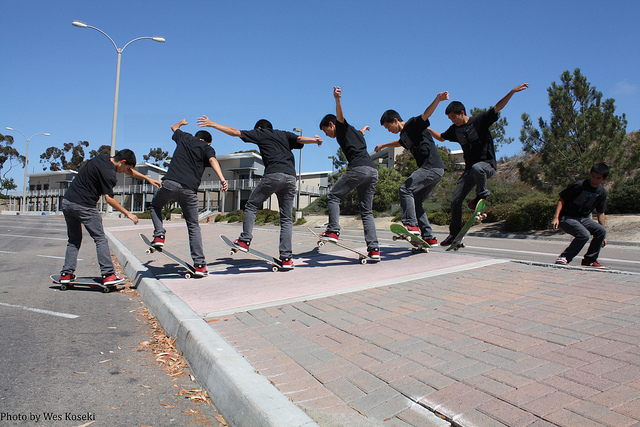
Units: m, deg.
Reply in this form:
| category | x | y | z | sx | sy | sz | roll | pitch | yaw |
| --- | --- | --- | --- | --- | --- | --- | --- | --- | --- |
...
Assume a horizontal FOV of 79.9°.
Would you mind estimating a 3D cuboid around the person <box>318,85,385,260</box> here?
| category | x | y | z | sx | sy | sz | roll | pitch | yaw |
| --- | --- | --- | --- | --- | --- | --- | --- | --- | --- |
| person | 0.525 | -0.620 | 6.668 | 0.964 | 2.885 | 0.781 | -3 | 11 | 5 |

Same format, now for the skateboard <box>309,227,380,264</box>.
| category | x | y | z | sx | sy | sz | roll | pitch | yaw |
| --- | --- | --- | --- | --- | --- | --- | --- | --- | --- |
| skateboard | 0.512 | 0.724 | 8.394 | 1.249 | 0.212 | 0.281 | 24 | -1 | 2 |

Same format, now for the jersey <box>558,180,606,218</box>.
| category | x | y | z | sx | sy | sz | roll | pitch | yaw |
| --- | --- | --- | --- | --- | --- | --- | --- | --- | --- |
| jersey | 4.621 | -0.256 | 6.696 | 0.666 | 0.665 | 0.274 | 3 | 13 | 31 |

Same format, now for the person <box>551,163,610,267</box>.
| category | x | y | z | sx | sy | sz | roll | pitch | yaw |
| --- | --- | --- | --- | --- | --- | --- | --- | --- | --- |
| person | 4.509 | 0.065 | 6.605 | 0.766 | 1.860 | 1.011 | 4 | 13 | 36 |

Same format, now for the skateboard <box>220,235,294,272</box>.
| category | x | y | z | sx | sy | sz | roll | pitch | yaw |
| --- | --- | --- | --- | --- | --- | --- | --- | --- | --- |
| skateboard | -1.228 | 0.782 | 7.269 | 0.973 | 0.156 | 0.261 | 24 | 8 | -6 |

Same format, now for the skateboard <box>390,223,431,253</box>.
| category | x | y | z | sx | sy | sz | roll | pitch | yaw |
| --- | --- | --- | --- | --- | --- | --- | --- | --- | --- |
| skateboard | 1.732 | 0.410 | 7.080 | 0.358 | 0.190 | 1.178 | -8 | -32 | 43 |

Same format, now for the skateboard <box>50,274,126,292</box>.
| category | x | y | z | sx | sy | sz | roll | pitch | yaw |
| --- | --- | --- | --- | --- | --- | --- | --- | --- | --- |
| skateboard | -3.690 | 1.112 | 6.032 | 0.782 | 0.119 | 0.226 | 6 | 7 | -8 |

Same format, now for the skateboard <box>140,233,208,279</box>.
| category | x | y | z | sx | sy | sz | roll | pitch | yaw |
| --- | --- | --- | --- | --- | --- | --- | --- | --- | --- |
| skateboard | -2.750 | 0.810 | 7.097 | 1.003 | 0.166 | 0.208 | 33 | 10 | 7 |

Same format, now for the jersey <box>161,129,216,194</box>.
| category | x | y | z | sx | sy | sz | roll | pitch | yaw |
| --- | --- | --- | --- | --- | --- | --- | --- | --- | --- |
| jersey | -2.170 | -0.838 | 6.266 | 0.810 | 1.048 | 0.605 | -7 | 12 | -20 |

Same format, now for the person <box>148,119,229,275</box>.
| category | x | y | z | sx | sy | sz | roll | pitch | yaw |
| --- | --- | --- | --- | --- | --- | --- | --- | --- | --- |
| person | -2.187 | -0.234 | 6.224 | 1.286 | 2.531 | 1.032 | -6 | 11 | -12 |

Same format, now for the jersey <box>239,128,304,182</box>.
| category | x | y | z | sx | sy | sz | roll | pitch | yaw |
| --- | --- | --- | --- | --- | --- | --- | --- | --- | --- |
| jersey | -0.788 | -1.037 | 6.488 | 0.990 | 0.833 | 0.585 | -4 | 11 | -5 |
